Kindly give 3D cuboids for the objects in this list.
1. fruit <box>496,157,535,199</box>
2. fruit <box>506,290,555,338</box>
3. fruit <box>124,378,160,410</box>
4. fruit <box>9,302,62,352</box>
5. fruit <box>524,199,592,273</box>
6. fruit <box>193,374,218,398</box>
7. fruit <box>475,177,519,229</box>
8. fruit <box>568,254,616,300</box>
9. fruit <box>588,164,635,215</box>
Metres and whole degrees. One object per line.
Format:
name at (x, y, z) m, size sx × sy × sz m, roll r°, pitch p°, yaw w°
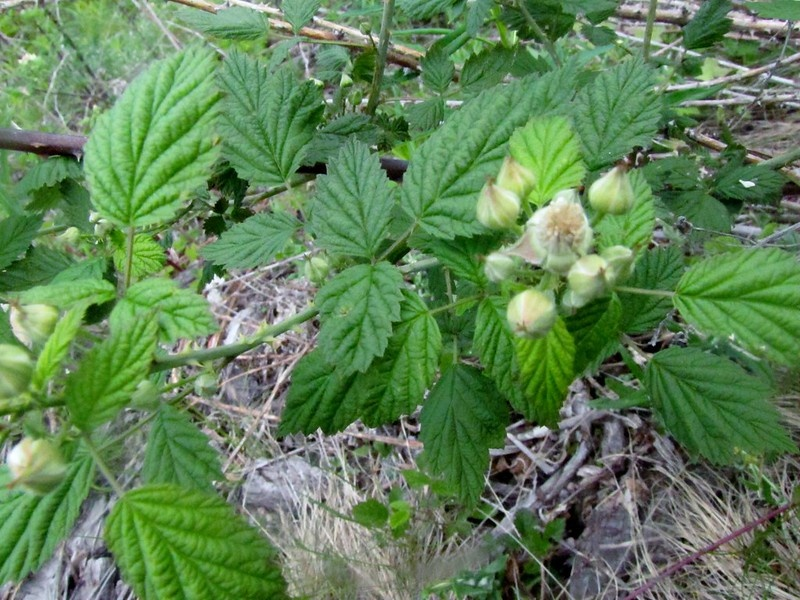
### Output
fruit at (0.501, -0.518, 3.115) m, size 0.119 × 0.164 × 0.116 m, roll -45°, pitch 34°, yaw -13°
fruit at (0.523, 0.059, 3.010) m, size 0.188 × 0.179 × 0.118 m, roll -22°, pitch 11°, yaw 2°
fruit at (-1.173, 0.456, 3.316) m, size 0.155 × 0.147 × 0.076 m, roll -18°, pitch 23°, yaw -11°
fruit at (-1.560, 0.122, 3.133) m, size 0.159 × 0.078 × 0.215 m, roll -2°, pitch 92°, yaw -5°
fruit at (0.687, -0.208, 3.082) m, size 0.311 × 0.362 × 0.185 m, roll -10°, pitch 82°, yaw 14°
fruit at (-0.991, 0.451, 3.745) m, size 0.077 × 0.126 × 0.116 m, roll 25°, pitch 95°, yaw -5°
fruit at (0.423, -0.366, 3.117) m, size 0.187 × 0.303 × 0.141 m, roll -1°, pitch 52°, yaw 8°
fruit at (0.781, -0.117, 3.015) m, size 0.162 × 0.185 × 0.246 m, roll 6°, pitch 17°, yaw 22°
fruit at (0.919, -0.470, 3.135) m, size 0.151 × 0.209 × 0.163 m, roll 20°, pitch 45°, yaw 7°
